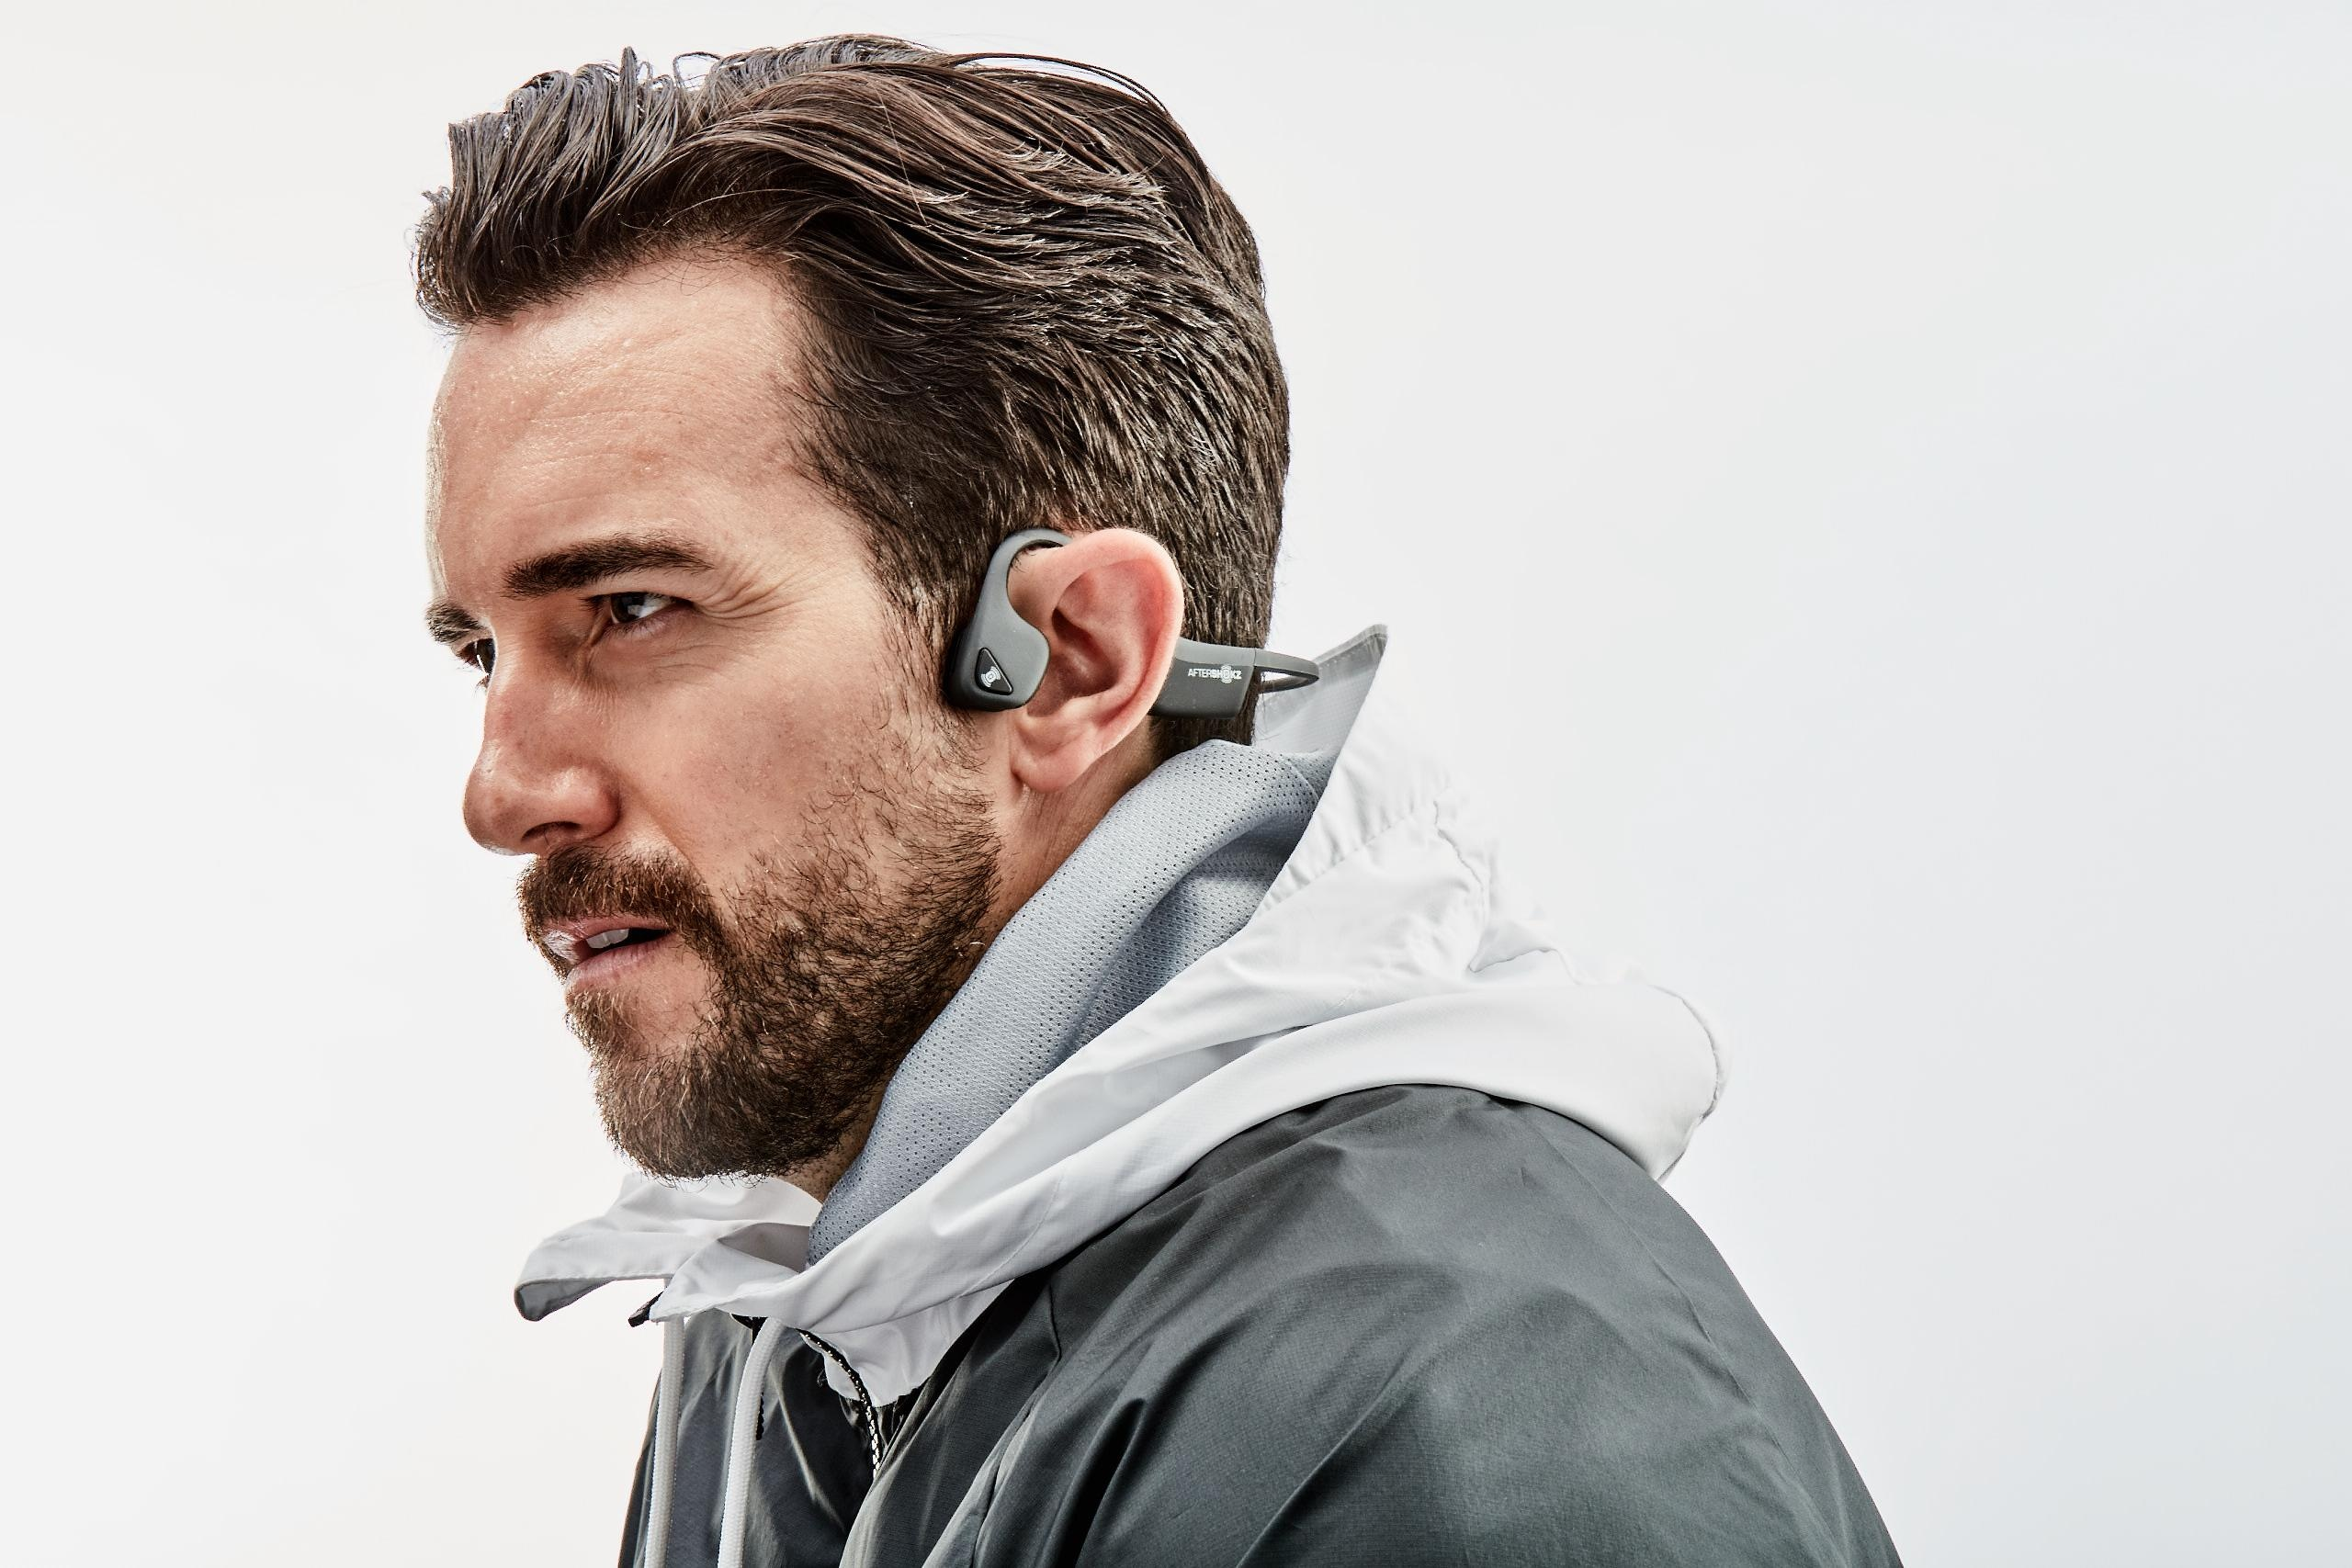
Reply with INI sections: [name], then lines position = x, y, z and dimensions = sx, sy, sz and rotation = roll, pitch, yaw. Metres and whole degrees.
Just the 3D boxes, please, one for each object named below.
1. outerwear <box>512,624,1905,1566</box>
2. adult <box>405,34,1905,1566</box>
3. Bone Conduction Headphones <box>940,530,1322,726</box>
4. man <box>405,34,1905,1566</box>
[outerwear]
position = -0.001, 0.487, 4.655
dimensions = 0.965, 1.122, 1.509
rotation = 9, -21, -31
[adult]
position = -0.126, 0.014, 5.145
dimensions = 1.460, 1.916, 2.100
rotation = 0, -10, -21
[Bone Conduction Headphones]
position = -0.053, -0.155, 4.655
dimensions = 0.301, 0.139, 0.192
rotation = 3, -6, -4
[man]
position = -0.096, 0.110, 5.161
dimensions = 1.460, 1.916, 2.100
rotation = 0, -10, -21
